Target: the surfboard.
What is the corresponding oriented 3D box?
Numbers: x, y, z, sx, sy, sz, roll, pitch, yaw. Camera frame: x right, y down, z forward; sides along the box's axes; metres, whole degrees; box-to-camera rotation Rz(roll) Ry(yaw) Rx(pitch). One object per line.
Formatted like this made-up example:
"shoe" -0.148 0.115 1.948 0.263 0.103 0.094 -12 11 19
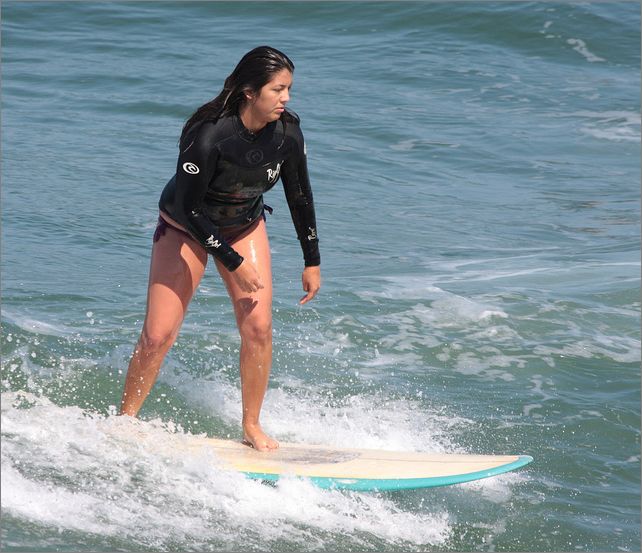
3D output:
"surfboard" 0.121 1.268 6.120 3.385 0.175 0.413 1 20 9
